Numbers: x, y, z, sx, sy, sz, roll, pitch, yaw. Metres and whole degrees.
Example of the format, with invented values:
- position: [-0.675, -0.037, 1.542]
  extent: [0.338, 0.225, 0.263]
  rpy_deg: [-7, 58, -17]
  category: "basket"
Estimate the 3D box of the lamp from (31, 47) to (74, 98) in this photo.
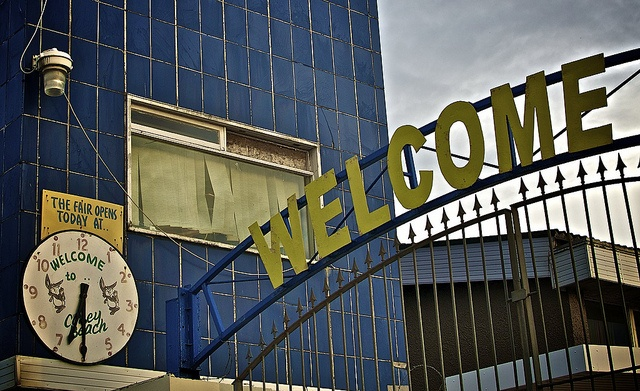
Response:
- position: [-5.036, -2.222, 19.693]
  extent: [0.841, 0.977, 0.876]
  rpy_deg: [-6, -31, -4]
  category: "lamp"
